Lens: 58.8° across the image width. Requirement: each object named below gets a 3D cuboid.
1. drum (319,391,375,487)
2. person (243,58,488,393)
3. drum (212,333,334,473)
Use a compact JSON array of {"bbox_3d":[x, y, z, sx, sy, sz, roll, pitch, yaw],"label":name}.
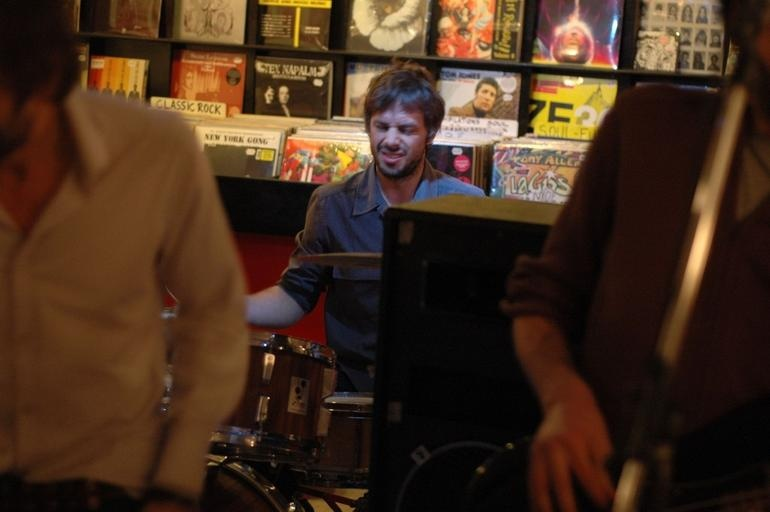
[{"bbox_3d":[-0.099,0.488,1.724,0.201,0.215,0.202,6,-33,-8],"label":"drum"},{"bbox_3d":[-0.064,-0.101,2.057,0.510,0.999,0.834,9,11,22],"label":"person"},{"bbox_3d":[-0.175,0.372,1.734,0.321,0.299,0.315,8,-12,18],"label":"drum"}]
